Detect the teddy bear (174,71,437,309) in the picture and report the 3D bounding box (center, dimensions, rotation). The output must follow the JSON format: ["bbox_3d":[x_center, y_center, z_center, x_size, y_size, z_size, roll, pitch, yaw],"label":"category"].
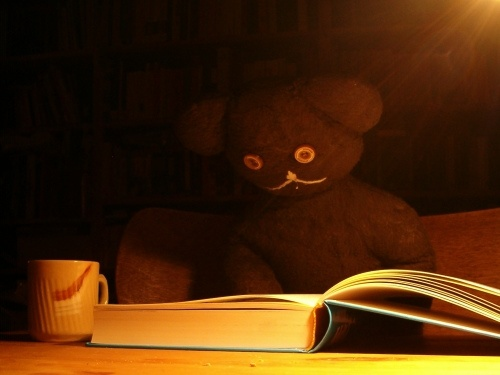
[{"bbox_3d":[0.154,0.050,1.969,0.570,0.480,0.747,-7,-67,22],"label":"teddy bear"}]

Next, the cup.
[{"bbox_3d":[-0.456,0.286,1.748,0.197,0.205,0.161,1,-3,-18],"label":"cup"}]
